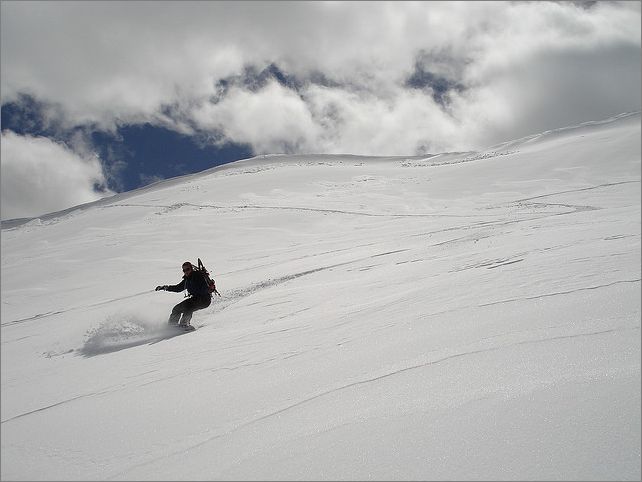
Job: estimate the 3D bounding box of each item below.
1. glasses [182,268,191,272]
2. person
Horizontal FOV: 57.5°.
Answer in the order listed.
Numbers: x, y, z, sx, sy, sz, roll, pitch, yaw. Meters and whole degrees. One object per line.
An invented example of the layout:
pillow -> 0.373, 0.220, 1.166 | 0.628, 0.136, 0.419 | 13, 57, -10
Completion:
glasses -> -2.844, 0.619, 12.297 | 0.209, 0.062, 0.121 | -4, 9, 42
person -> -2.765, 1.077, 12.223 | 0.801, 0.897, 1.189 | -7, 7, 18
